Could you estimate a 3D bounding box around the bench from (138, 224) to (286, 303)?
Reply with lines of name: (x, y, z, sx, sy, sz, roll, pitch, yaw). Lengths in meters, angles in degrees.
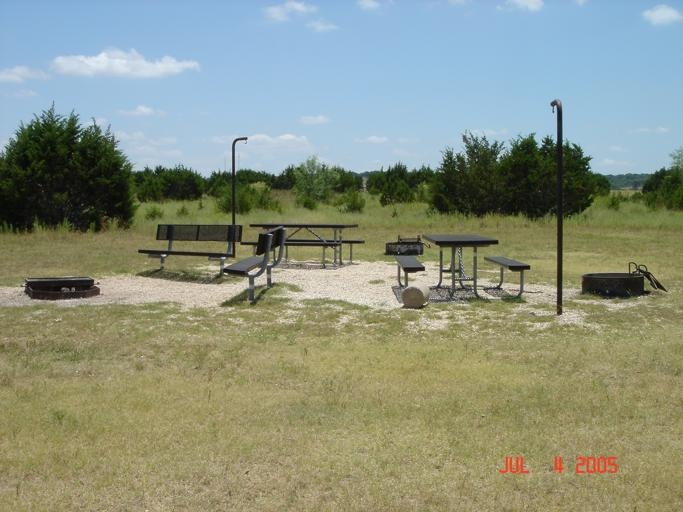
bench: (-2.517, 0.285, 13.769, 2.804, 1.068, 1.794, 2, 8, 19)
